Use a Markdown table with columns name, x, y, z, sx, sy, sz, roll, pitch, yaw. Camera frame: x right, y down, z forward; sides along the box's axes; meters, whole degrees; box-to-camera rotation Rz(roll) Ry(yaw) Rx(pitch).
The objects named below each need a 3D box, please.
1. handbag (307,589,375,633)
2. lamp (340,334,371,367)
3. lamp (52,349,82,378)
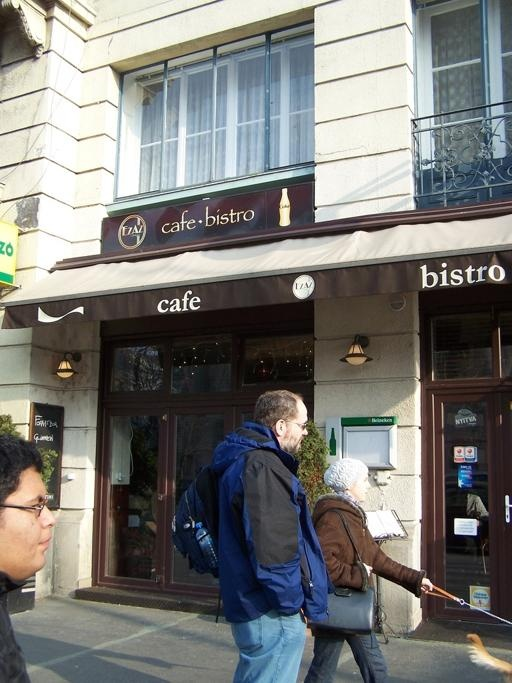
| name | x | y | z | sx | sy | sz | roll | pitch | yaw |
| --- | --- | --- | --- | --- | --- | --- | --- | --- | --- |
| handbag | 0.430 | 1.266 | 3.492 | 0.275 | 0.207 | 0.226 | -4 | -4 | 22 |
| lamp | 0.947 | 0.074 | 7.180 | 0.260 | 0.339 | 0.273 | -4 | -15 | 31 |
| lamp | -2.267 | 0.272 | 8.991 | 0.268 | 0.412 | 0.301 | -7 | -13 | 33 |
